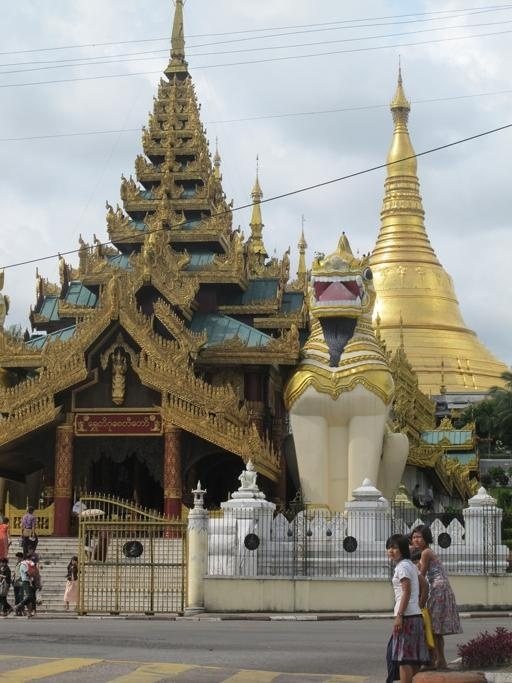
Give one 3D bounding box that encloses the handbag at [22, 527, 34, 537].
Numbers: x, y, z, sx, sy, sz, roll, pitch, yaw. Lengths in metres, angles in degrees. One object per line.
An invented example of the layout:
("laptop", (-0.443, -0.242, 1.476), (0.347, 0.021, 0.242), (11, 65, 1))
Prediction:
("handbag", (-3.737, 3.088, 25.452), (0.141, 0.139, 0.282), (-4, -14, 16))
